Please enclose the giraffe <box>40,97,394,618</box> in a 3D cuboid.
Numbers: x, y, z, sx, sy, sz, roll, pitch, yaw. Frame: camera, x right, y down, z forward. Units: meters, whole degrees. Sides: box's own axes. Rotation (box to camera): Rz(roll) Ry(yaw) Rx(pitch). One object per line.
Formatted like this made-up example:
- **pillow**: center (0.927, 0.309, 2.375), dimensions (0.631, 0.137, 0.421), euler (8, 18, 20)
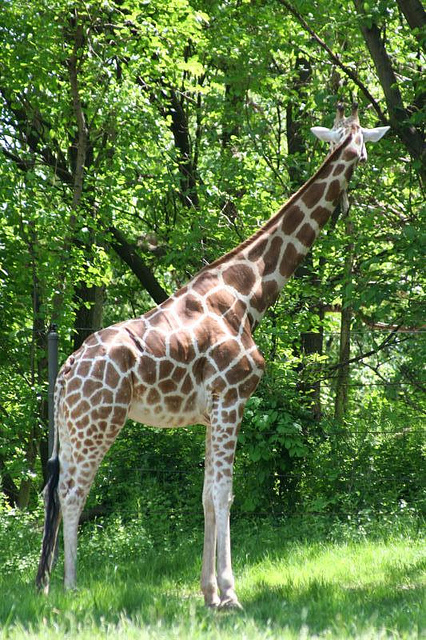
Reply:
- **giraffe**: center (-0.061, 0.124, 5.798), dimensions (2.064, 3.209, 0.818), euler (-1, -6, -12)
